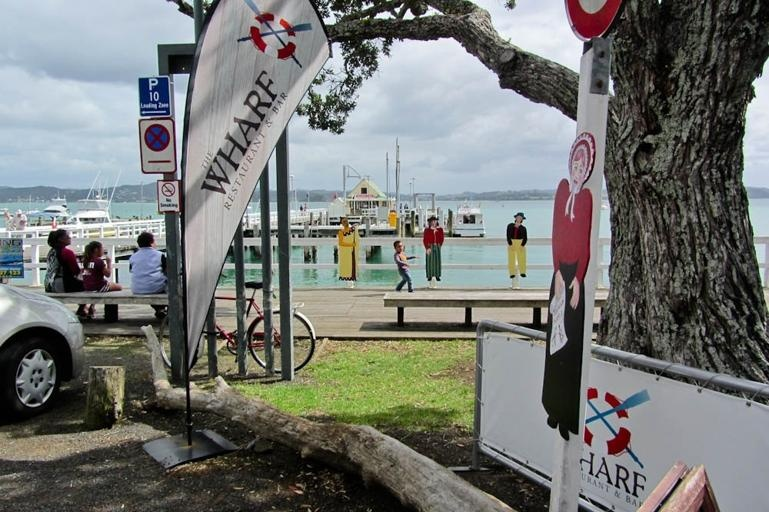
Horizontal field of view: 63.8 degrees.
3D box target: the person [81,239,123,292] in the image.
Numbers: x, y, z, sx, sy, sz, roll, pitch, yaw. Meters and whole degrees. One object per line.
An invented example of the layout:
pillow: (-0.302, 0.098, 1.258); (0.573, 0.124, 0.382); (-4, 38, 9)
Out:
person: (-5.047, 0.158, 10.954); (0.605, 0.897, 0.567); (0, 8, 1)
